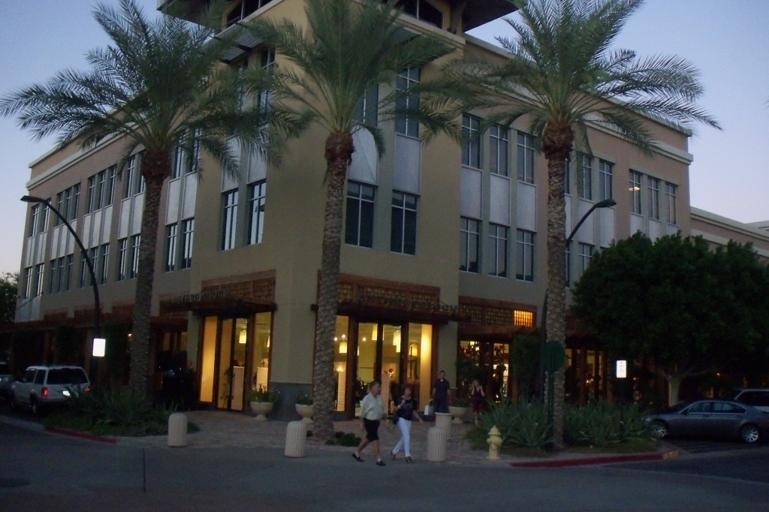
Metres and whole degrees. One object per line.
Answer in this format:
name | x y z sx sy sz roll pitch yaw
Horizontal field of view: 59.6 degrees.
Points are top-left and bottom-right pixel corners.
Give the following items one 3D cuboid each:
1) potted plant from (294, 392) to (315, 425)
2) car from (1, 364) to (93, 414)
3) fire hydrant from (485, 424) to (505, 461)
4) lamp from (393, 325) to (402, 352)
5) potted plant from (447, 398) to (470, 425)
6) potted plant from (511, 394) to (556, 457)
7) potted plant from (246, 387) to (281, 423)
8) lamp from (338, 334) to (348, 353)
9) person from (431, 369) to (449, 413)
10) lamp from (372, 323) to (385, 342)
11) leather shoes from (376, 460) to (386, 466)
potted plant | -3.357 6.441 28.270 1.278 1.491 1.308 2 -6 -11
car | -15.633 6.290 31.327 6.073 2.226 1.712 -14 -21 37
fire hydrant | 3.445 5.978 21.309 0.410 1.099 0.548 -3 -16 8
lamp | 0.574 4.059 32.423 0.407 1.210 0.237 5 -16 -18
potted plant | 3.555 7.491 32.075 0.942 0.818 1.018 0 -6 7
potted plant | 5.043 5.969 23.011 1.274 1.483 1.382 -3 -10 5
potted plant | -5.274 6.677 29.505 1.148 1.302 1.125 7 -11 -19
lamp | -1.919 4.118 30.934 0.414 0.810 0.193 2 -16 -8
person | 2.415 5.935 29.273 0.654 1.891 1.132 -1 -16 3
lamp | -0.313 3.714 31.888 0.641 0.837 0.692 0 -2 3
leather shoes | -0.148 6.083 19.567 0.128 0.110 0.260 7 -17 -34
